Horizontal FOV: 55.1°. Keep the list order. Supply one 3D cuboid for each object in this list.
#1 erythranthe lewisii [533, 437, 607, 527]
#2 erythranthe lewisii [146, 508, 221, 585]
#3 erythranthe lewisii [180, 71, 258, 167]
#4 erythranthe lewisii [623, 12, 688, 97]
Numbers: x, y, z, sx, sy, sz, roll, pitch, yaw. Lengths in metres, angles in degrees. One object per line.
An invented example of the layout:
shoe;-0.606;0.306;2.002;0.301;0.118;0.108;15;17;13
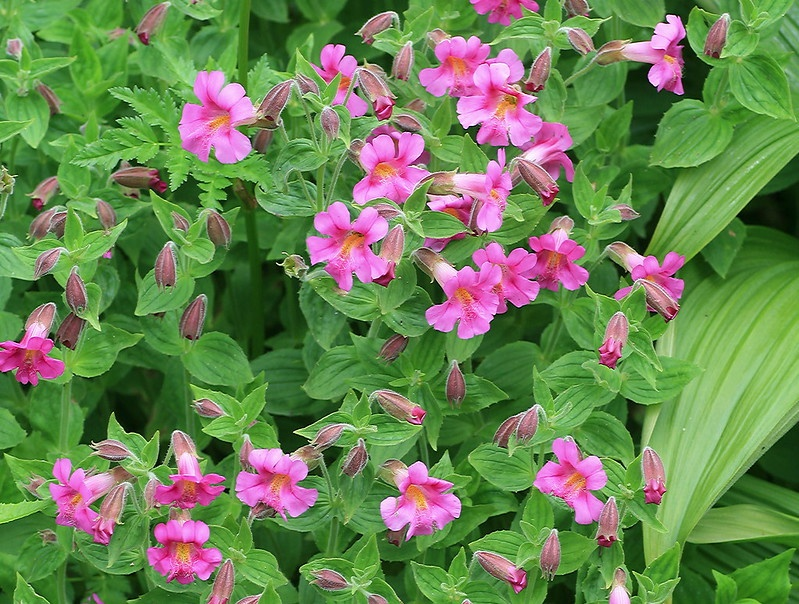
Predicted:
erythranthe lewisii;0.411;0.406;1.758;0.184;0.082;0.185;2;3;37
erythranthe lewisii;-0.495;0.586;1.765;0.155;0.072;0.173;-2;40;-39
erythranthe lewisii;-0.435;-0.460;1.838;0.153;0.175;0.075;-4;72;-23
erythranthe lewisii;0.637;-0.657;2.023;0.218;0.173;0.146;18;67;27
